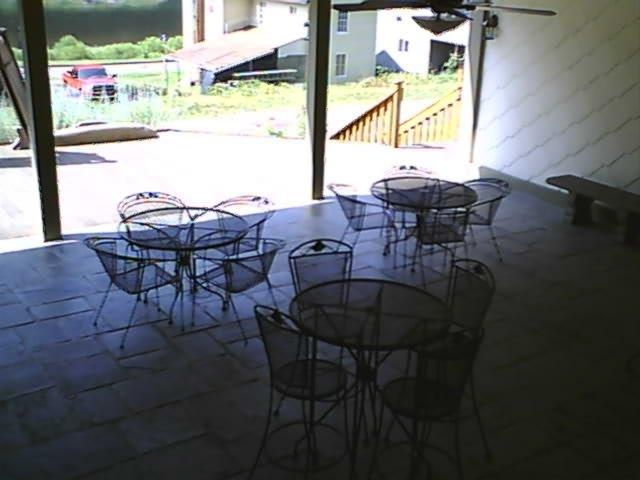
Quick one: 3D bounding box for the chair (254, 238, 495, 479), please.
[{"bbox_3d":[0.415,0.859,3.710,1.602,1.035,1.465,4,23,6],"label":"chair"}]
